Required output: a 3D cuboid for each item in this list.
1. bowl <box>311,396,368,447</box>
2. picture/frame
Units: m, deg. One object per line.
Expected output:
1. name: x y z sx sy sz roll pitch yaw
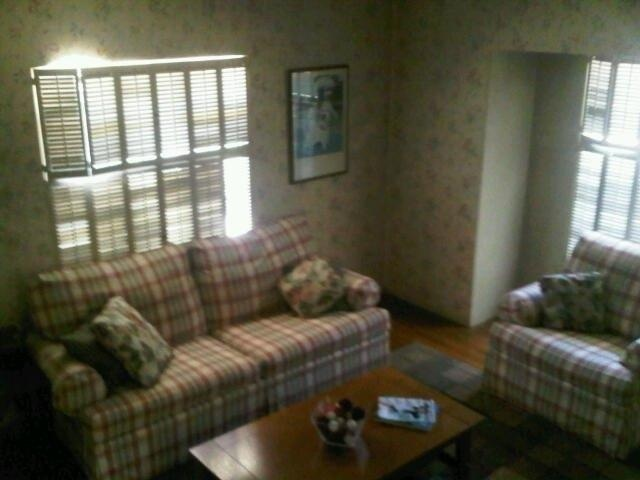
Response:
1. bowl: 0.094 1.049 3.099 0.295 0.188 0.272 10 13 -2
2. picture/frame: -0.036 -1.083 4.908 0.877 1.259 0.048 -15 26 -33
